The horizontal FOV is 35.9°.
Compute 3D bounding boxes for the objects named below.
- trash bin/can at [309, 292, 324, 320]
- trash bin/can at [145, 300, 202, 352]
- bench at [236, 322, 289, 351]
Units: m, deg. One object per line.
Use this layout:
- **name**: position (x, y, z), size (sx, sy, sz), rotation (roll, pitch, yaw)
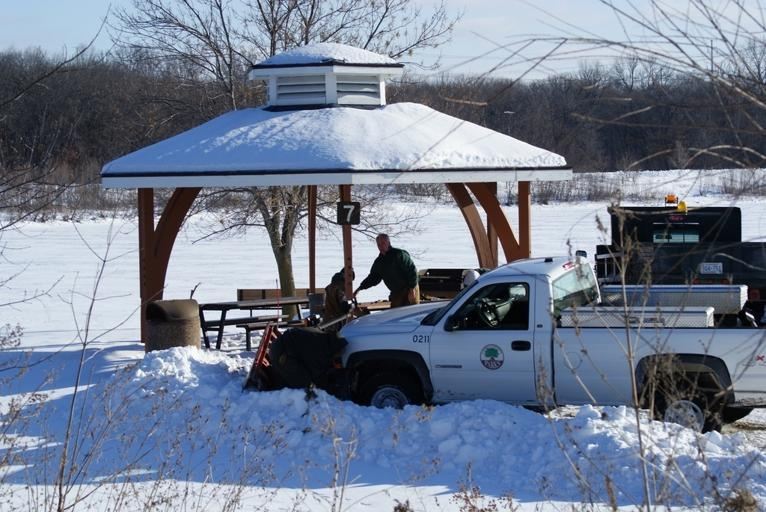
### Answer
- **trash bin/can**: position (-1.229, 0.924, 22.216), size (0.366, 0.460, 0.386), rotation (-1, 8, 1)
- **trash bin/can**: position (-3.586, 1.201, 20.753), size (0.864, 1.042, 0.872), rotation (0, 1, -33)
- **bench**: position (-2.104, 1.417, 20.940), size (0.356, 0.449, 0.652), rotation (-1, 0, 33)
